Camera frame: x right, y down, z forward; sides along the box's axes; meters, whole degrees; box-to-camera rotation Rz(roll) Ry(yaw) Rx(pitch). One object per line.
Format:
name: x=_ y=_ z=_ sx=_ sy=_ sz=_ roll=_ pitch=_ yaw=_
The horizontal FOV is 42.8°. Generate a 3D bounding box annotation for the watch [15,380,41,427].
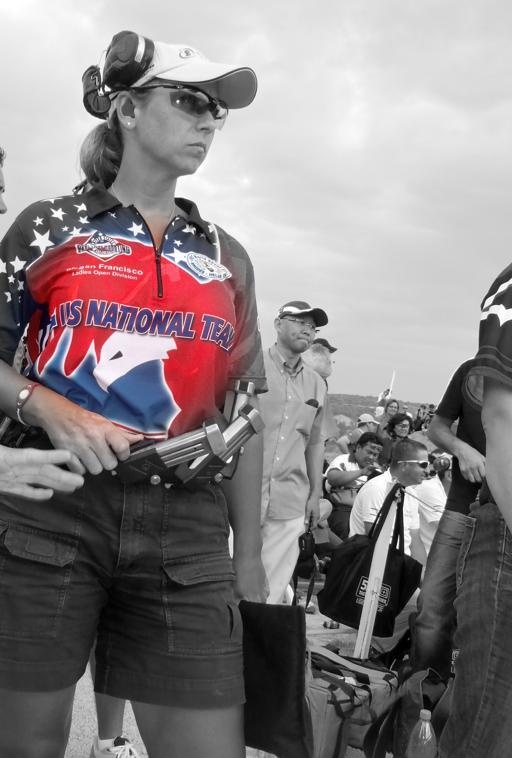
watch: x=-0.442 y=0.048 z=1.232 sx=0.031 sy=0.055 sz=0.034 roll=9 pitch=3 yaw=-11

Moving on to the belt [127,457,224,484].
belt: x=-0.152 y=0.182 z=1.288 sx=0.061 sy=0.048 sz=0.234 roll=11 pitch=4 yaw=37

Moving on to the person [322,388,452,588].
person: x=1.174 y=0.972 z=5.568 sx=1.149 sy=1.626 sz=0.975 roll=16 pitch=-14 yaw=-17
